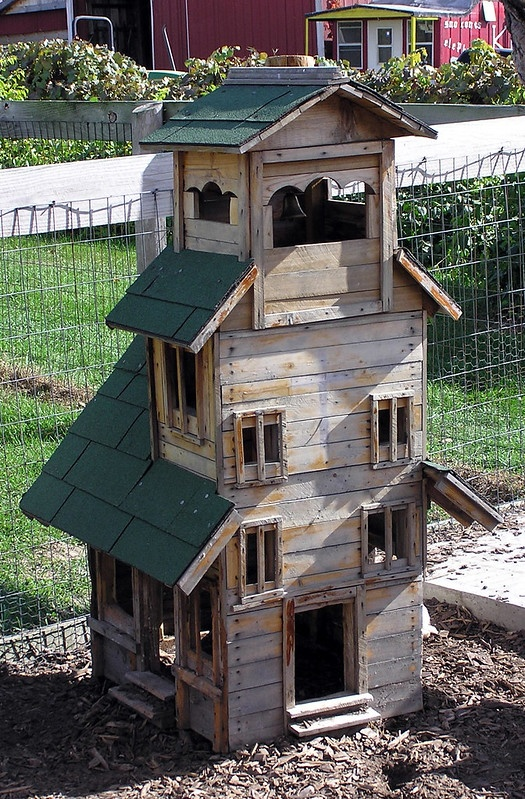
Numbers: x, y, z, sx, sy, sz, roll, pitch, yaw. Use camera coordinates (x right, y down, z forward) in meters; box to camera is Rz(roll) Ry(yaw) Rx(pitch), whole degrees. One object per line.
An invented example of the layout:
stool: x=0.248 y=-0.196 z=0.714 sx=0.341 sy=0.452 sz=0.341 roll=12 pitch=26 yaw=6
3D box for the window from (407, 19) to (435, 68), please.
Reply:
window: x=3.012 y=-6.825 z=19.339 sx=0.515 sy=0.873 sz=1.337 roll=-1 pitch=10 yaw=9

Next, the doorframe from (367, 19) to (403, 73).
doorframe: x=2.355 y=-6.815 z=19.518 sx=0.713 sy=0.876 sz=0.407 roll=-2 pitch=10 yaw=6

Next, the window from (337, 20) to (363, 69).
window: x=1.680 y=-6.822 z=19.569 sx=0.495 sy=0.826 sz=0.782 roll=-2 pitch=10 yaw=5
